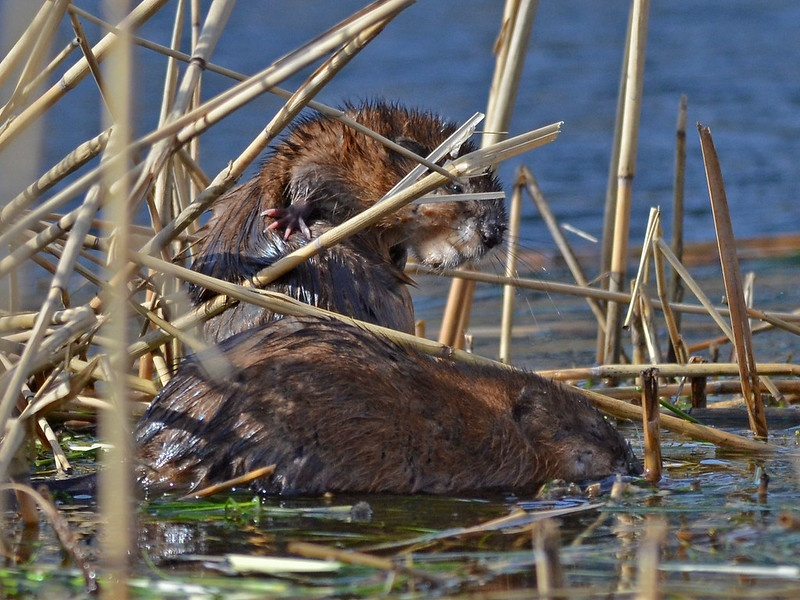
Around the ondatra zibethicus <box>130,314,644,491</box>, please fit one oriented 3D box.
[{"bbox_3d":[-0.047,0.422,4.048,1.747,0.637,0.329,6,-20,-16],"label":"ondatra zibethicus"}]
